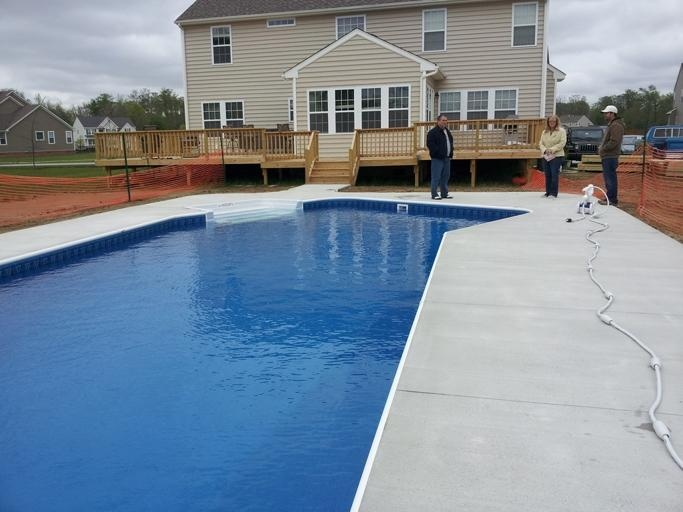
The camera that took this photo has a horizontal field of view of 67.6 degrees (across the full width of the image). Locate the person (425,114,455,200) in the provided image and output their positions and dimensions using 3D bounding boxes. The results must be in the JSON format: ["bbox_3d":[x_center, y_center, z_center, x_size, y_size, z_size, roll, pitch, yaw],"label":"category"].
[{"bbox_3d":[2.519,-2.571,13.212,0.674,2.114,1.078,1,14,9],"label":"person"}]

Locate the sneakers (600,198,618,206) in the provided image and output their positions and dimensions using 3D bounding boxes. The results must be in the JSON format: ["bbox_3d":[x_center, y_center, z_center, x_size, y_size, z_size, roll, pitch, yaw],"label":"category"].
[{"bbox_3d":[6.190,-1.257,11.850,0.175,0.174,0.477,-10,17,-44],"label":"sneakers"}]

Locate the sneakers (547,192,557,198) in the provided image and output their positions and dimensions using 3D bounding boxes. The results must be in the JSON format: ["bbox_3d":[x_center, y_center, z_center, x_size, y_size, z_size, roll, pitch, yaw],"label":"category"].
[{"bbox_3d":[5.399,-1.560,13.109,0.296,0.105,0.104,2,-11,-39],"label":"sneakers"}]
